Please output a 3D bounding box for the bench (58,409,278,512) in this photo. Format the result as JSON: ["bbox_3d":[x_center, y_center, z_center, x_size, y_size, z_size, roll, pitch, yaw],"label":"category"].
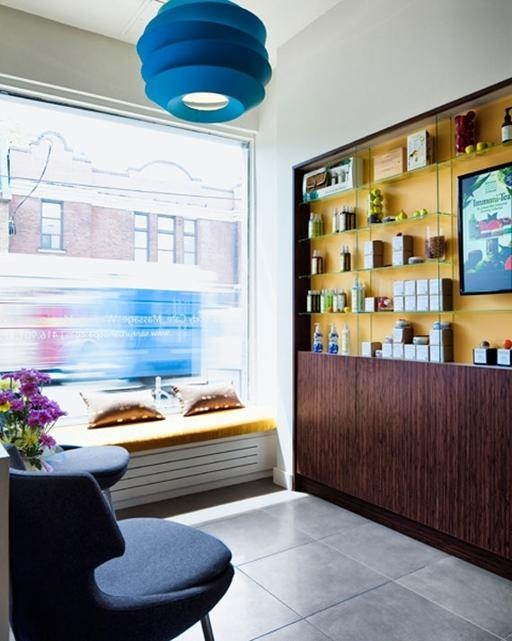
[{"bbox_3d":[-0.552,0.961,3.550,1.434,0.449,0.565,-3,-6,-30],"label":"bench"}]
